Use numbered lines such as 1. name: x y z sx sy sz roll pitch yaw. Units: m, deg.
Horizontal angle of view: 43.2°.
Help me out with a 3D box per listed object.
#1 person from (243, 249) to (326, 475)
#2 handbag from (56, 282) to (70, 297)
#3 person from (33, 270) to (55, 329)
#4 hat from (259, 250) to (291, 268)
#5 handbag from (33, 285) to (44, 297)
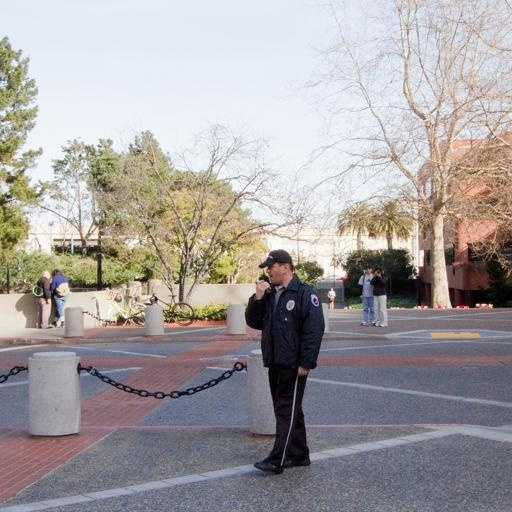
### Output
1. person: 0.241 0.811 5.216 0.617 1.742 0.570 -1 -3 -2
2. handbag: -6.006 1.053 20.153 0.340 0.469 0.222 0 10 -14
3. person: -6.567 1.366 19.902 0.512 1.752 0.932 0 -3 -19
4. hat: 0.167 0.022 5.199 0.209 0.127 0.140 0 0 -7
5. handbag: -6.607 1.075 19.684 0.303 0.386 0.433 0 -3 -19
